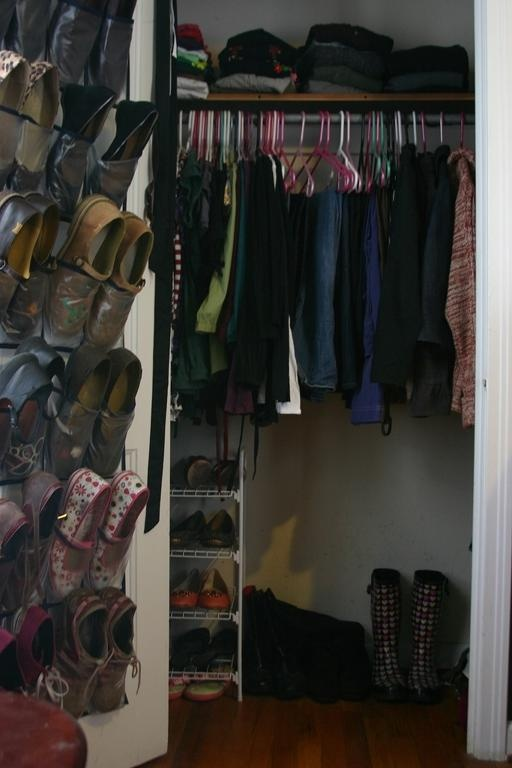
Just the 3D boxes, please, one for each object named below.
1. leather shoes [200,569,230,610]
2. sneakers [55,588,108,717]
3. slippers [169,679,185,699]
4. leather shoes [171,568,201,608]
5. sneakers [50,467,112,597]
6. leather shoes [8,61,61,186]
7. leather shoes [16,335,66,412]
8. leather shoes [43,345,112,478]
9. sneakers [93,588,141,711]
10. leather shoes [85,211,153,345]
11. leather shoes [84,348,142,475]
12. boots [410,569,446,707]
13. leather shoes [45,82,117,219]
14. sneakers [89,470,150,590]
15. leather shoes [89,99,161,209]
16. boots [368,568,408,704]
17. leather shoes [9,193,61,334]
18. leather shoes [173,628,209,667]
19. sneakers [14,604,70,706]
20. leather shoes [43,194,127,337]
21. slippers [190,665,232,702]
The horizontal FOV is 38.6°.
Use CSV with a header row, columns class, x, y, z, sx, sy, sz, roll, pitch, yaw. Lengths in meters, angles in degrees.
class,x,y,z,sx,sy,sz,roll,pitch,yaw
leather shoes,-0.131,0.645,2.277,0.090,0.094,0.173,1,5,-5
sneakers,-0.331,0.498,1.388,0.061,0.279,0.076,3,0,-44
slippers,-0.233,0.912,2.166,0.045,0.043,0.063,0,5,-9
leather shoes,-0.218,0.645,2.290,0.094,0.078,0.213,1,5,-4
sneakers,-0.323,0.273,1.335,0.070,0.292,0.073,12,6,35
leather shoes,-0.362,-0.413,1.215,0.054,0.258,0.075,-2,16,-39
leather shoes,-0.363,-0.027,1.282,0.045,0.052,0.131,-22,44,-31
leather shoes,-0.327,0.014,1.344,0.067,0.280,0.078,13,9,22
sneakers,-0.285,0.578,1.517,0.075,0.292,0.071,6,9,36
leather shoes,-0.278,-0.195,1.465,0.085,0.337,0.091,-3,17,-45
leather shoes,-0.287,0.060,1.479,0.073,0.298,0.069,12,9,37
boots,0.523,0.764,2.243,0.106,0.321,0.260,2,4,16
leather shoes,-0.316,-0.423,1.296,0.075,0.305,0.087,-9,23,-44
sneakers,-0.277,0.301,1.471,0.078,0.309,0.073,15,10,43
leather shoes,-0.257,-0.466,1.440,0.057,0.290,0.083,16,7,17
boots,0.393,0.769,2.220,0.108,0.309,0.173,1,3,8
leather shoes,-0.369,-0.176,1.231,0.056,0.266,0.069,11,9,18
leather shoes,-0.207,0.818,2.281,0.047,0.053,0.123,6,30,2
sneakers,-0.372,0.437,1.267,0.125,0.062,0.051,20,22,27
leather shoes,-0.311,-0.204,1.329,0.080,0.338,0.096,12,4,31
slippers,-0.140,0.886,2.177,0.140,0.089,0.108,1,4,-6
